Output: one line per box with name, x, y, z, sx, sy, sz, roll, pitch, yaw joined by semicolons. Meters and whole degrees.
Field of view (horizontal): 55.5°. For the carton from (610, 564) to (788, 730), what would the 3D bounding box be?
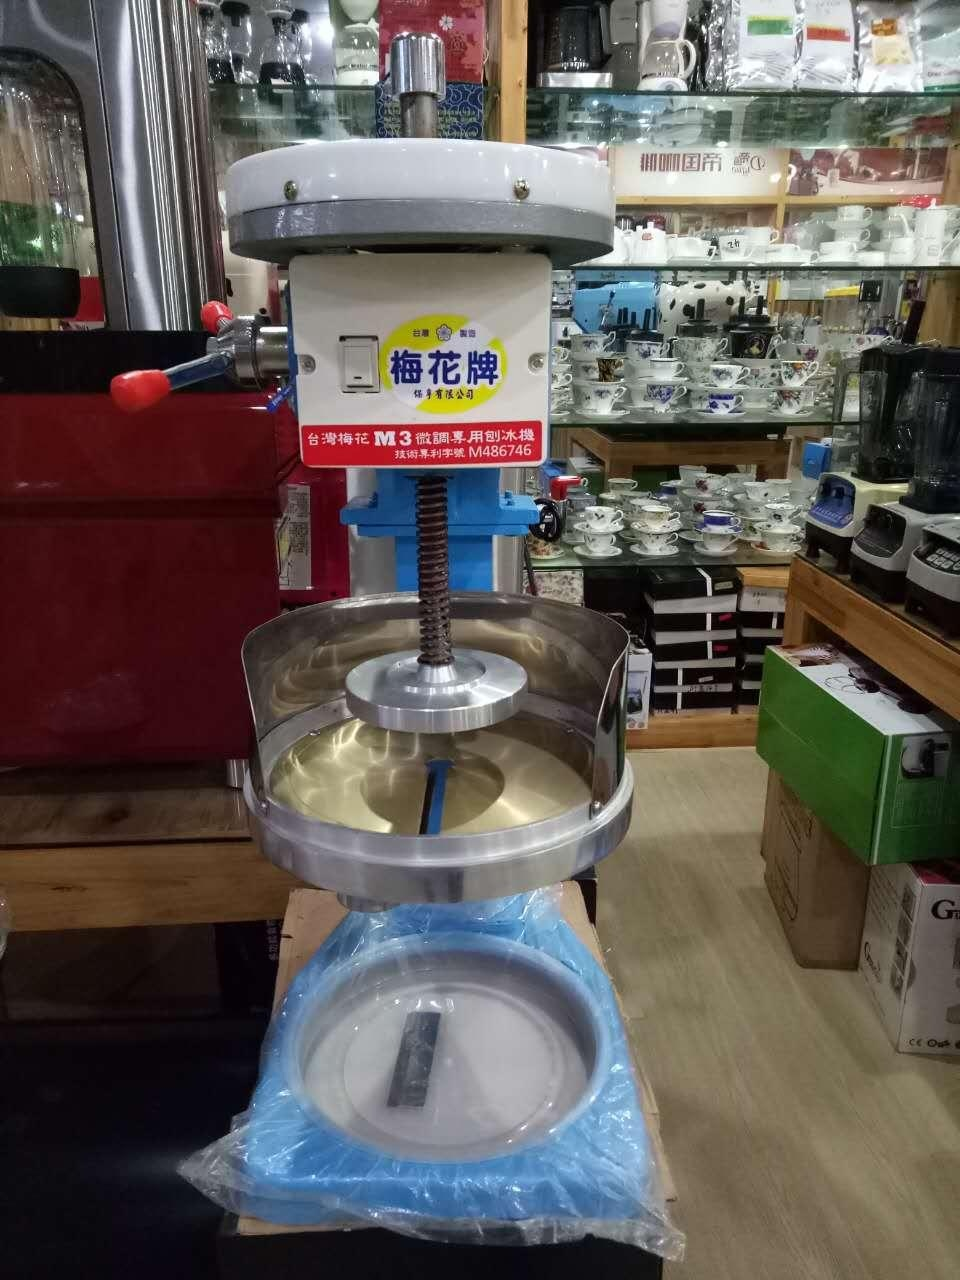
carton;0.560;0.003;2.473;0.298;0.363;0.387;1;16;-5
